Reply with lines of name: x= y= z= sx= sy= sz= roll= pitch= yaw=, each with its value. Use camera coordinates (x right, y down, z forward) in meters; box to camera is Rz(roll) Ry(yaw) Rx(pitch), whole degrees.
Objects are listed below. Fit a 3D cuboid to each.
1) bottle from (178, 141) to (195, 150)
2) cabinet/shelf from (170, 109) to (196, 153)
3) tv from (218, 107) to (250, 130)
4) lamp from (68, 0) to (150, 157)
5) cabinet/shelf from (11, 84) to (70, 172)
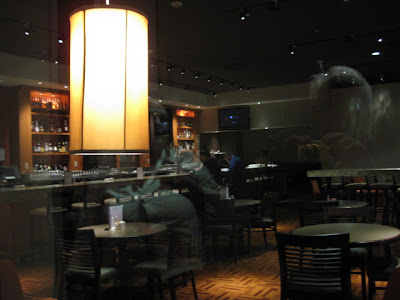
bottle: x=-0.228 y=-0.074 z=5.949 sx=0.323 sy=0.148 sz=0.201 roll=2 pitch=-2 yaw=15
cabinet/shelf: x=-0.271 y=-0.377 z=6.237 sx=0.501 sy=0.821 sz=0.227 roll=-1 pitch=-6 yaw=-23
tv: x=0.486 y=-0.426 z=4.739 sx=0.362 sy=0.229 sz=0.048 roll=0 pitch=3 yaw=17
lamp: x=-0.520 y=-0.399 z=1.998 sx=0.470 sy=0.845 sz=0.290 roll=-3 pitch=12 yaw=-8
cabinet/shelf: x=-2.555 y=-0.353 z=5.614 sx=0.459 sy=1.359 sz=1.104 roll=4 pitch=13 yaw=27
